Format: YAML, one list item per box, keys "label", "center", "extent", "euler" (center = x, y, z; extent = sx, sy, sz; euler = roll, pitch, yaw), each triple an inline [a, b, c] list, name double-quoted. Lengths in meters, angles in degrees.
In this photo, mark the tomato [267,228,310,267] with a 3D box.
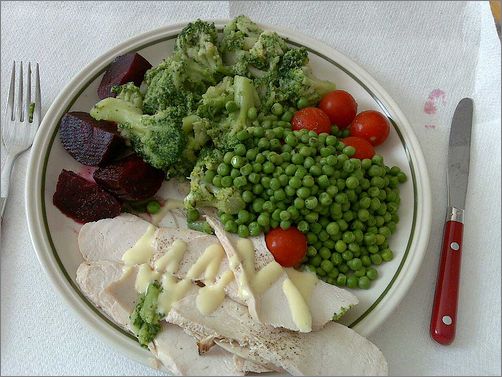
- label: "tomato"
  center: [0.252, 0.419, 3.768]
  extent: [0.325, 0.210, 0.343]
  euler: [6, 36, 13]
